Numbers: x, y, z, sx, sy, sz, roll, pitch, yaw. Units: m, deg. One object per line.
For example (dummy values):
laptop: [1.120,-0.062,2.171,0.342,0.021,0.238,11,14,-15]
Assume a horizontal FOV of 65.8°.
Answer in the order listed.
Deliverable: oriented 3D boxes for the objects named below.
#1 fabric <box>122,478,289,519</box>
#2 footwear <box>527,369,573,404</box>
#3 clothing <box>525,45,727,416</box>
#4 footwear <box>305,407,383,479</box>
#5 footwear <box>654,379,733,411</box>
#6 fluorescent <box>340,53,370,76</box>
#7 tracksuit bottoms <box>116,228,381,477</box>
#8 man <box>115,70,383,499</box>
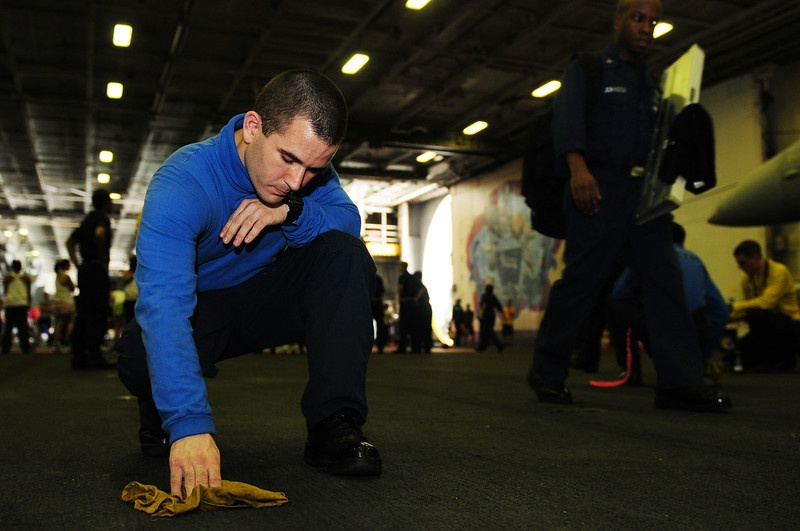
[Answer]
fabric: [-0.661,0.753,2.001,0.563,0.088,0.135,-1,-6,3]
footwear: [0.889,0.751,3.771,0.130,0.134,0.321,10,-12,-23]
clothing: [1.262,-0.291,3.578,1.031,2.231,0.507,-3,-6,22]
footwear: [-0.233,0.676,2.402,0.168,0.243,0.399,11,-13,-39]
footwear: [1.623,0.741,3.523,0.447,0.201,0.163,-8,-15,31]
fluorescent: [-0.914,-4.064,12.531,0.223,0.046,0.632,36,-13,-17]
tracksuit bottoms: [-0.565,0.318,2.497,0.805,0.723,1.182,3,-2,-21]
man: [-0.589,0.042,2.519,1.002,1.460,1.680,-6,12,-29]
